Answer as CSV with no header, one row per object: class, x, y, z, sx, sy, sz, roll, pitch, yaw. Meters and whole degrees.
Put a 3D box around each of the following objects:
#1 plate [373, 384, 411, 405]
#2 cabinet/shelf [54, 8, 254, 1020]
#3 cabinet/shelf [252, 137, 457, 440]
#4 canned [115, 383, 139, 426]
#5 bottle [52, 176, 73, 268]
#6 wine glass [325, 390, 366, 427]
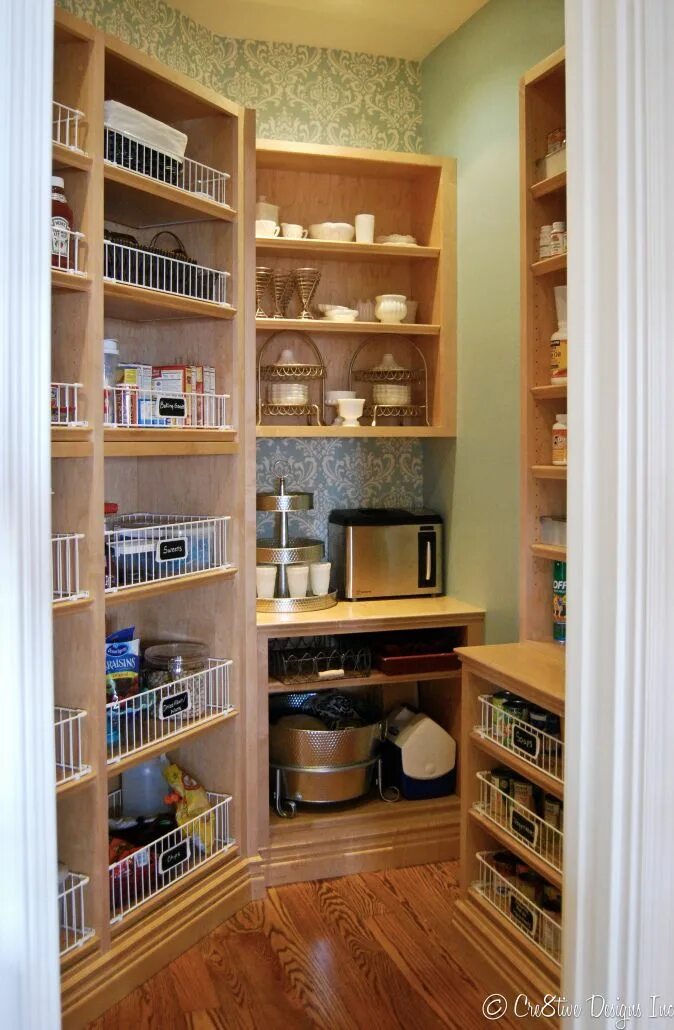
plate,0.203,-0.421,2.925,0.087,0.061,0.083,2,4,34
cabinet/shelf,-0.590,-0.005,2.162,0.489,2.307,0.830,0,1,27
cabinet/shelf,0.050,-0.811,2.895,0.976,1.117,0.339,-2,4,-26
canned,-0.529,-0.275,2.050,0.066,0.103,0.043,-1,1,-33
bottle,-0.597,-0.640,1.754,0.037,0.228,0.153,-1,1,-18
wine glass,0.033,-0.375,2.895,0.124,0.142,0.146,-4,-1,17
